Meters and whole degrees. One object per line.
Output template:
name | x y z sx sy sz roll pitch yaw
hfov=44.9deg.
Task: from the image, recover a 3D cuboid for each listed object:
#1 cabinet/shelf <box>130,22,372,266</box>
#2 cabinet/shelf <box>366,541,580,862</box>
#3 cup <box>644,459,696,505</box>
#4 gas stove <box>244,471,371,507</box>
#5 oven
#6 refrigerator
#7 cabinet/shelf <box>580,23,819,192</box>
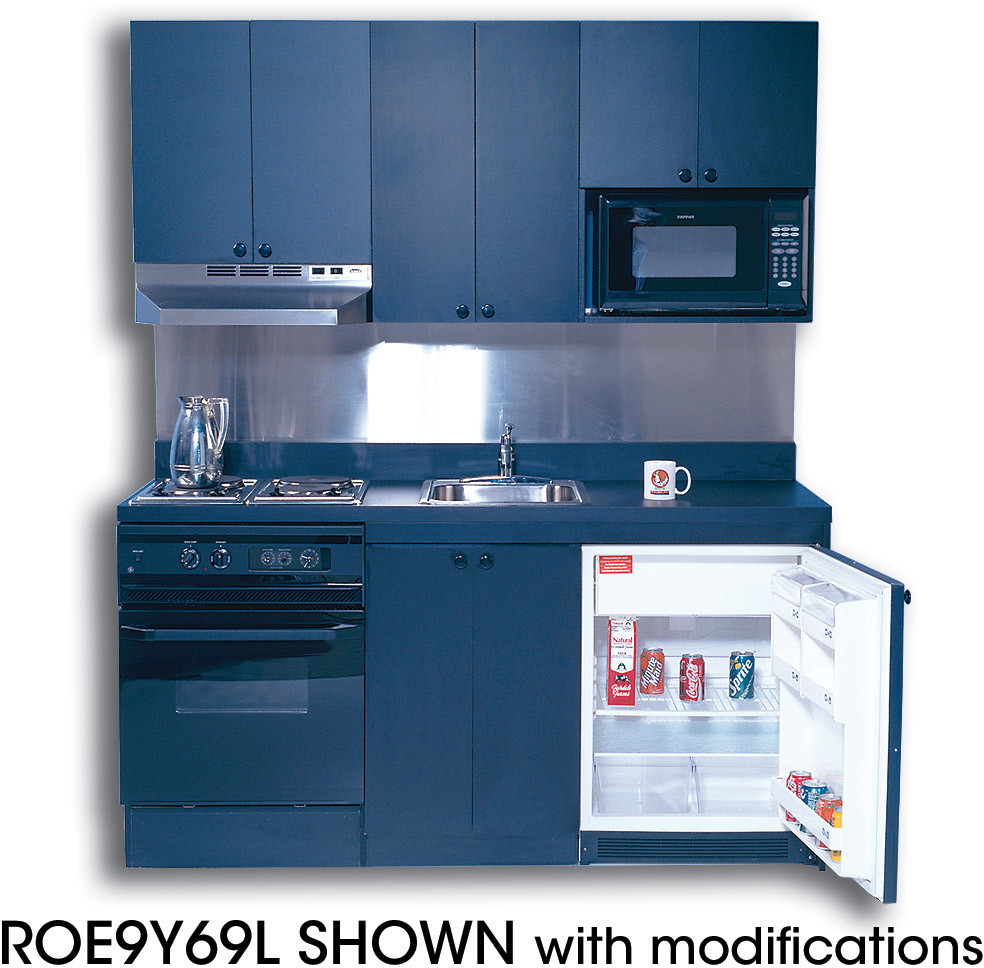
cabinet/shelf | -0.764 -1.077 3.737 0.708 0.781 0.387 -4 27 -16
cabinet/shelf | -0.058 0.533 3.733 0.708 1.053 0.718 -3 19 -10
cup | 0.549 -0.003 3.676 0.162 0.140 0.113 0 2 4
gas stove | -0.561 0.022 3.636 0.349 0.137 0.463 0 -8 -7
oven | -0.657 0.465 3.724 0.755 1.025 0.661 0 -1 -1
refrigerator | 0.724 0.626 3.389 0.979 1.119 0.906 1 1 8
cabinet/shelf | 0.608 -1.136 3.544 0.698 0.557 0.435 0 0 2
